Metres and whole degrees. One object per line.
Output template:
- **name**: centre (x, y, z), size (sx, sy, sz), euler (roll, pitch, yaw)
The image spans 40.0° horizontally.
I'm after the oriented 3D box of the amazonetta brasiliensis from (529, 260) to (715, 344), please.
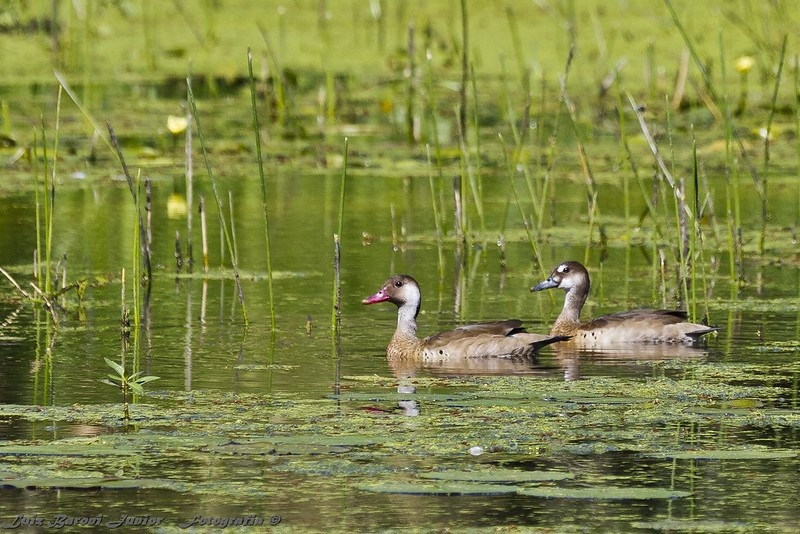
- **amazonetta brasiliensis**: centre (2.572, 0.455, 12.290), size (2.079, 0.927, 0.622), euler (0, 2, 9)
